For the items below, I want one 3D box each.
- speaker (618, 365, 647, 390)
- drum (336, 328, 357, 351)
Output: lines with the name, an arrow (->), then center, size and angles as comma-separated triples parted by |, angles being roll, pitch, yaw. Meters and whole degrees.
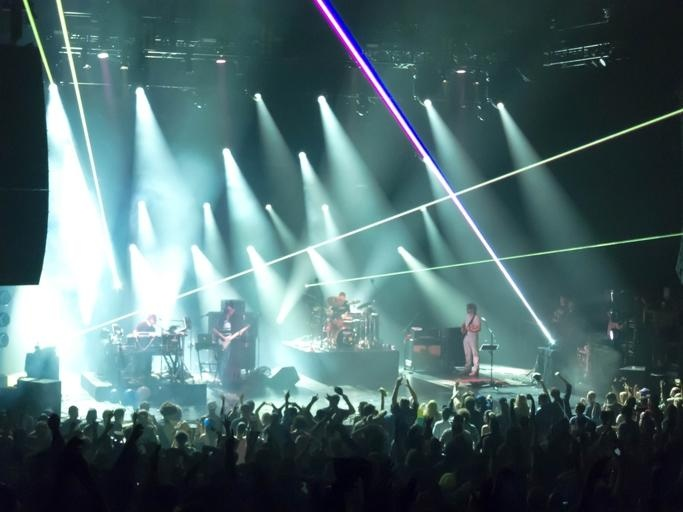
speaker -> 5.740, 2.388, 15.095 | 0.223, 0.426, 0.421 | 12, 13, -16
drum -> 0.165, 2.127, 19.540 | 0.455, 0.488, 0.442 | 2, -4, -10
